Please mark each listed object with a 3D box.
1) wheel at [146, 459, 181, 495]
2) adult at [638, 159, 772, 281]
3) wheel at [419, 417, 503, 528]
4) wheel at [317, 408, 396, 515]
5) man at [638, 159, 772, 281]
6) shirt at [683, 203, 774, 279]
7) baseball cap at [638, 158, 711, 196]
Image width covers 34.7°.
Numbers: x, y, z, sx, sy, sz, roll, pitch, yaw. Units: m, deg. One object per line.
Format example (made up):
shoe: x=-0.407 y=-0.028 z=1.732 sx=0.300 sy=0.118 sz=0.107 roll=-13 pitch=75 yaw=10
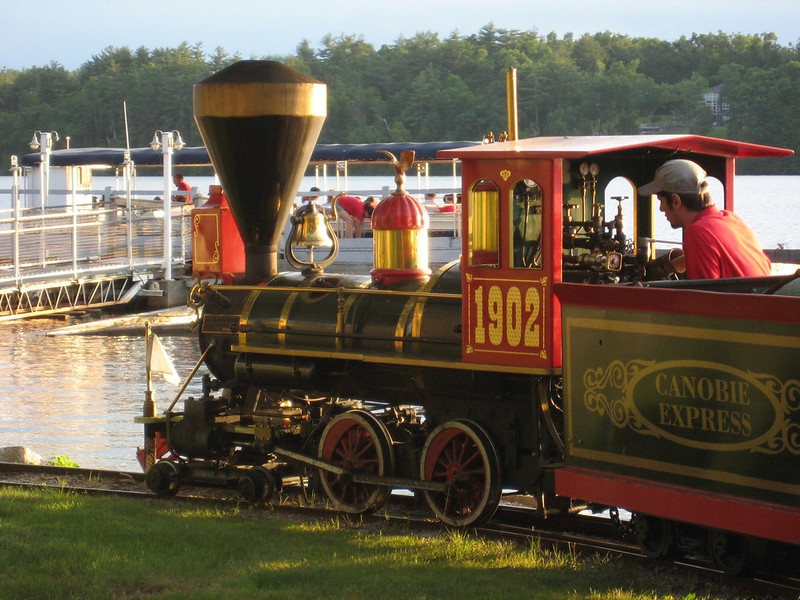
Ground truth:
wheel: x=-2.397 y=1.811 z=13.069 sx=0.251 sy=0.259 sz=0.147 roll=-32 pitch=-11 yaw=14
adult: x=2.592 y=-0.499 z=10.761 sx=1.003 sy=1.378 sz=0.971 roll=-3 pitch=18 yaw=1
wheel: x=0.556 y=1.534 z=11.449 sx=0.217 sy=1.095 sz=0.954 roll=1 pitch=-2 yaw=-41
wheel: x=-0.415 y=1.529 z=12.093 sx=0.167 sy=1.073 sz=0.935 roll=3 pitch=-4 yaw=-43
man: x=2.553 y=-0.527 z=10.755 sx=1.035 sy=1.349 sz=0.934 roll=-2 pitch=23 yaw=4
shirt: x=2.711 y=-0.407 z=10.627 sx=0.787 sy=0.703 sz=0.438 roll=-15 pitch=0 yaw=-38
baseball cap: x=2.275 y=-1.026 z=10.645 sx=0.418 sy=0.226 sz=0.286 roll=3 pitch=11 yaw=19
